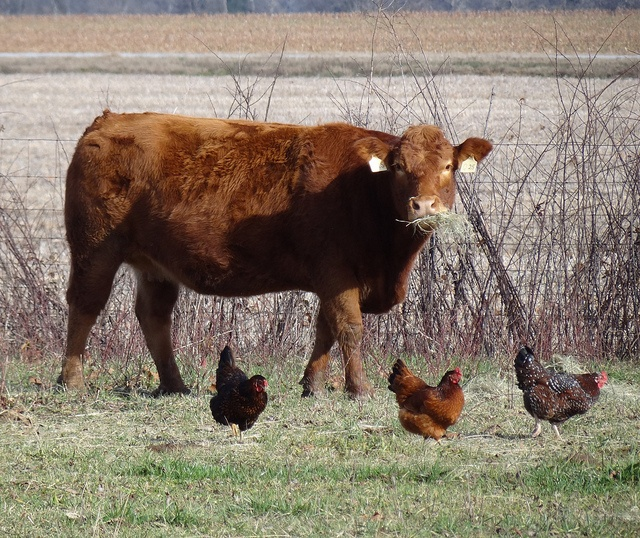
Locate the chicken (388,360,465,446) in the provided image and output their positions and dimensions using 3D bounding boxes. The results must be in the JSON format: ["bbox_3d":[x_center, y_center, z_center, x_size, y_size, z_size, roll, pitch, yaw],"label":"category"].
[{"bbox_3d":[1.083,1.430,13.574,0.841,0.840,0.548,3,2,39],"label":"chicken"}]

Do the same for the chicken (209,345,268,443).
[{"bbox_3d":[-0.875,1.292,13.586,0.551,0.767,0.756,-6,16,-12],"label":"chicken"}]

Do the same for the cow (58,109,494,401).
[{"bbox_3d":[-0.778,-0.146,14.414,4.247,3.159,0.941,-1,14,8],"label":"cow"}]

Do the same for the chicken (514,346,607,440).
[{"bbox_3d":[2.497,1.266,13.541,0.872,0.820,0.562,-5,15,-5],"label":"chicken"}]
